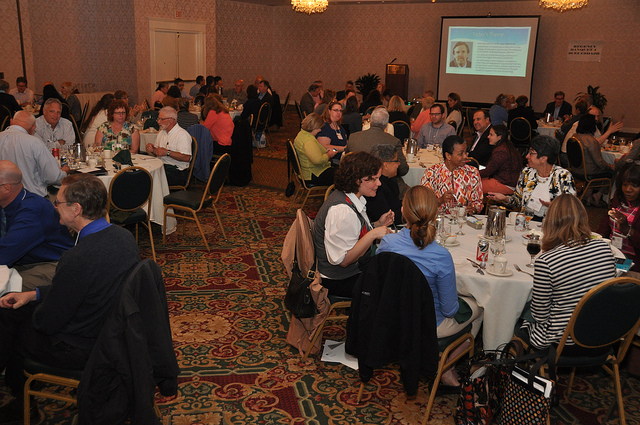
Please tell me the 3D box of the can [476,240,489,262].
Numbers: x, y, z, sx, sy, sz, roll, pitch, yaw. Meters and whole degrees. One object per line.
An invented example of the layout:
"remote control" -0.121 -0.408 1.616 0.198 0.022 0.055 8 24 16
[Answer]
"can" 1.247 0.285 3.431 0.083 0.171 0.141 7 14 20

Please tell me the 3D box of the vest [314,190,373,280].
"vest" 0.093 0.144 3.876 0.557 0.830 0.742 -4 19 -7

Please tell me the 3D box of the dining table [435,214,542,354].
"dining table" 1.431 0.341 3.565 0.916 0.296 1.045 12 29 31

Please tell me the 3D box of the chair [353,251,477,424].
"chair" 0.644 0.847 3.160 0.799 1.208 0.425 6 13 12

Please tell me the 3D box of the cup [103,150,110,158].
"cup" -2.585 -0.713 5.433 0.061 0.079 0.076 0 0 -5

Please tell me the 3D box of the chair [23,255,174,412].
"chair" -1.347 0.751 2.713 0.577 1.080 0.668 9 20 -12

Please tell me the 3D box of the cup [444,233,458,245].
"cup" 1.068 0.211 3.647 0.084 0.063 0.087 -2 5 0

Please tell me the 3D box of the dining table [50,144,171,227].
"dining table" -2.430 -0.575 5.253 1.119 0.627 1.131 35 24 33

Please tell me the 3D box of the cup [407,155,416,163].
"cup" 1.227 -0.724 6.036 0.084 0.088 0.114 -1 1 -3

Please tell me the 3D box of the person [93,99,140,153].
"person" -2.686 -1.079 5.932 0.490 0.770 0.452 2 6 -8

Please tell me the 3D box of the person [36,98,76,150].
"person" -3.676 -1.191 6.173 0.418 0.763 0.515 27 25 36

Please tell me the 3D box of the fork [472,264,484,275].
"fork" 1.169 0.421 3.314 0.026 0.010 0.098 -8 24 -12

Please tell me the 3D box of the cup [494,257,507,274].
"cup" 1.305 0.386 3.254 0.081 0.089 0.106 0 -2 3

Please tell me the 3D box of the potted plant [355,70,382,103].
"potted plant" 1.584 -4.167 15.215 0.839 1.201 0.883 -3 4 5

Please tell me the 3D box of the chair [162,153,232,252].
"chair" -1.515 -0.172 5.449 0.692 1.136 0.623 6 15 4

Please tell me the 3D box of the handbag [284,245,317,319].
"handbag" -0.148 0.547 3.461 0.238 0.516 0.121 6 14 14

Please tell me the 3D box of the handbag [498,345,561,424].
"handbag" 1.330 1.084 2.765 0.364 0.491 0.227 -6 15 -31

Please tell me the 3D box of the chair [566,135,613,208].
"chair" 4.254 -0.652 7.029 0.679 1.044 0.736 7 22 28

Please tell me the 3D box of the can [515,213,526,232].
"can" 1.753 0.091 3.926 0.084 0.147 0.079 2 13 -1

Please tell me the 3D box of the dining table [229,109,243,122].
"dining table" -1.930 -2.284 10.256 0.372 0.264 0.394 4 22 -2

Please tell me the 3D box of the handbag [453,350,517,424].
"handbag" 1.081 1.139 2.908 0.245 0.441 0.440 17 22 35

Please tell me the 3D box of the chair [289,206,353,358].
"chair" 0.077 0.644 3.679 0.615 1.110 0.590 4 -1 1

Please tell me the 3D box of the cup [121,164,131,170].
"cup" -2.232 -0.538 5.133 0.091 0.075 0.095 1 2 0

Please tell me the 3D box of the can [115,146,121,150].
"can" -2.605 -0.836 5.791 0.032 0.056 0.051 27 15 37
